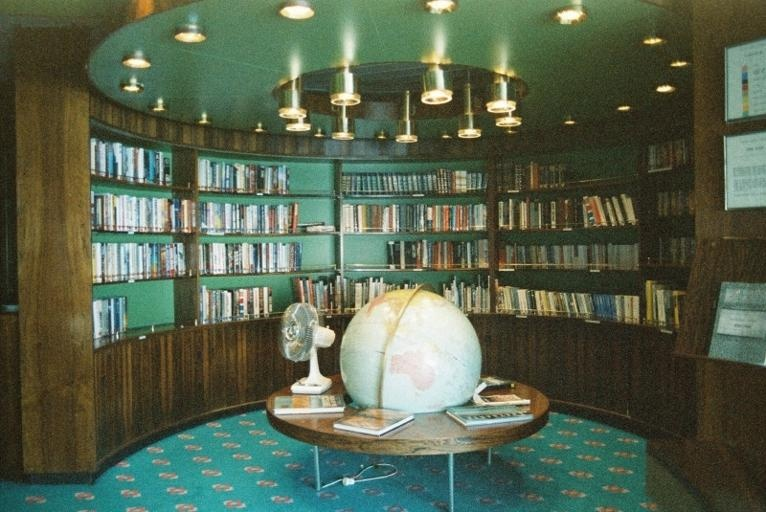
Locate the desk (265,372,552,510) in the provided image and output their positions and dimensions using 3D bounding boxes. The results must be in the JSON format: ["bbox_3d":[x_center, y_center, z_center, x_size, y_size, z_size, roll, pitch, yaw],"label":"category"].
[{"bbox_3d":[0.219,1.181,4.226,1.375,0.338,1.198,-2,4,-15],"label":"desk"}]

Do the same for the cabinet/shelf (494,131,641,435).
[{"bbox_3d":[1.870,0.176,6.432,1.902,2.657,1.190,5,13,33],"label":"cabinet/shelf"}]
